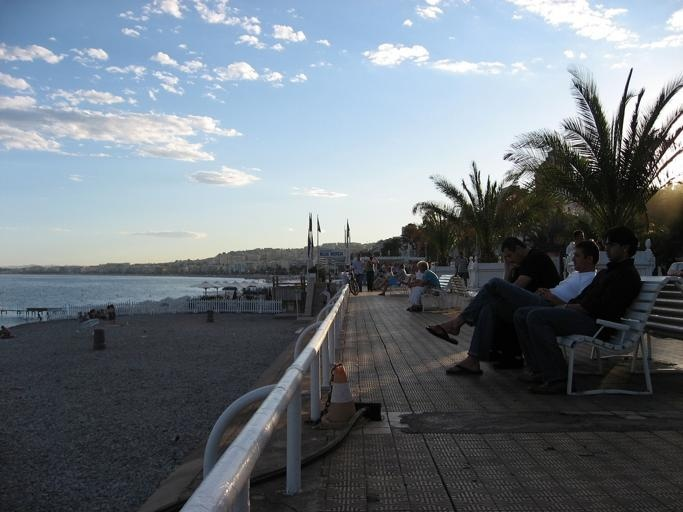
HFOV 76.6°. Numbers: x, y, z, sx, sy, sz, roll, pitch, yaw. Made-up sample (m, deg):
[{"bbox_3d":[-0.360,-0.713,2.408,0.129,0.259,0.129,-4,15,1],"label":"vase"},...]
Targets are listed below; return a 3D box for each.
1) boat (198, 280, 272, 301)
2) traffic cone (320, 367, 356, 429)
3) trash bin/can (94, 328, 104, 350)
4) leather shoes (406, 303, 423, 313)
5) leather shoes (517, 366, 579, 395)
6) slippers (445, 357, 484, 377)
[{"bbox_3d":[-23.265,7.344,92.644,8.980,3.532,67.283,-2,-2,-15],"label":"boat"},{"bbox_3d":[-0.040,1.231,3.924,0.322,0.544,0.499,-2,-1,0],"label":"traffic cone"},{"bbox_3d":[-15.577,5.366,27.742,0.628,1.189,1.163,-2,-1,-35],"label":"trash bin/can"},{"bbox_3d":[2.334,1.674,13.725,0.457,0.230,0.205,2,4,6],"label":"leather shoes"},{"bbox_3d":[2.192,1.351,4.669,0.501,0.241,0.170,5,-3,9],"label":"leather shoes"},{"bbox_3d":[1.559,1.431,5.533,0.442,0.293,0.216,2,-6,3],"label":"slippers"}]
